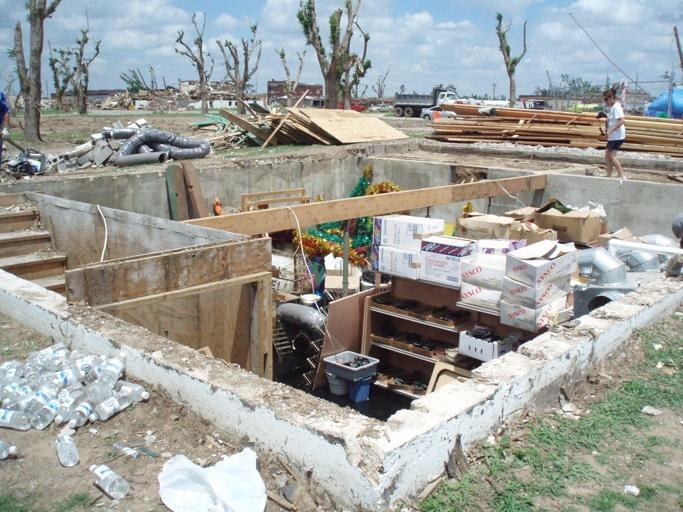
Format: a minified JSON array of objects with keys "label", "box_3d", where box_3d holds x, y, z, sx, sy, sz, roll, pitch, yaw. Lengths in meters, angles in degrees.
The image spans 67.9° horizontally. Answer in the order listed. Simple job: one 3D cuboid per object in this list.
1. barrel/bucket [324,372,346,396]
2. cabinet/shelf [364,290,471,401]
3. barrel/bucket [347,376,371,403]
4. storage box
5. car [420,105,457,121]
[{"label":"barrel/bucket","box_3d":[-0.102,1.814,7.299,0.344,0.244,0.331,2,8,0]},{"label":"cabinet/shelf","box_3d":[1.026,1.173,6.849,1.532,1.357,0.616,9,6,42]},{"label":"barrel/bucket","box_3d":[0.300,1.876,7.154,0.331,0.335,0.418,1,-1,41]},{"label":"storage box","box_3d":[1.673,0.197,6.268,1.803,0.642,1.826,8,14,36]},{"label":"car","box_3d":[5.348,-8.215,29.105,1.387,0.706,4.272,0,17,5]}]
